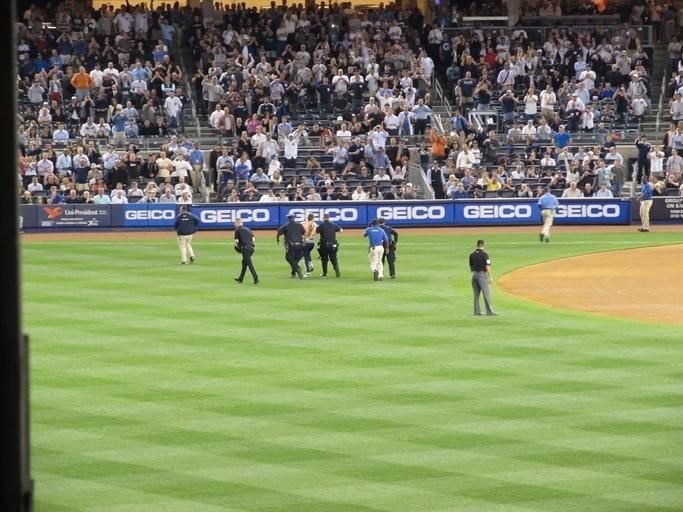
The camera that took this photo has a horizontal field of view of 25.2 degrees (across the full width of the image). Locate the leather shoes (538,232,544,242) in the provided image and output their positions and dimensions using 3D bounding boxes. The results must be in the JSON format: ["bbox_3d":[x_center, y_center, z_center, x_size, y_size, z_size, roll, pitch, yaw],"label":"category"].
[{"bbox_3d":[7.402,-0.745,56.359,0.110,0.296,0.133,-2,-3,9],"label":"leather shoes"}]

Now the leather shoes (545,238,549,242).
[{"bbox_3d":[7.616,-0.624,56.423,0.133,0.139,0.128,0,5,0],"label":"leather shoes"}]

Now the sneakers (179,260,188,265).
[{"bbox_3d":[-5.357,0.172,51.833,0.258,0.121,0.306,-3,6,-11],"label":"sneakers"}]

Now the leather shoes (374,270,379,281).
[{"bbox_3d":[1.127,0.609,49.318,0.114,0.289,0.128,1,1,21],"label":"leather shoes"}]
